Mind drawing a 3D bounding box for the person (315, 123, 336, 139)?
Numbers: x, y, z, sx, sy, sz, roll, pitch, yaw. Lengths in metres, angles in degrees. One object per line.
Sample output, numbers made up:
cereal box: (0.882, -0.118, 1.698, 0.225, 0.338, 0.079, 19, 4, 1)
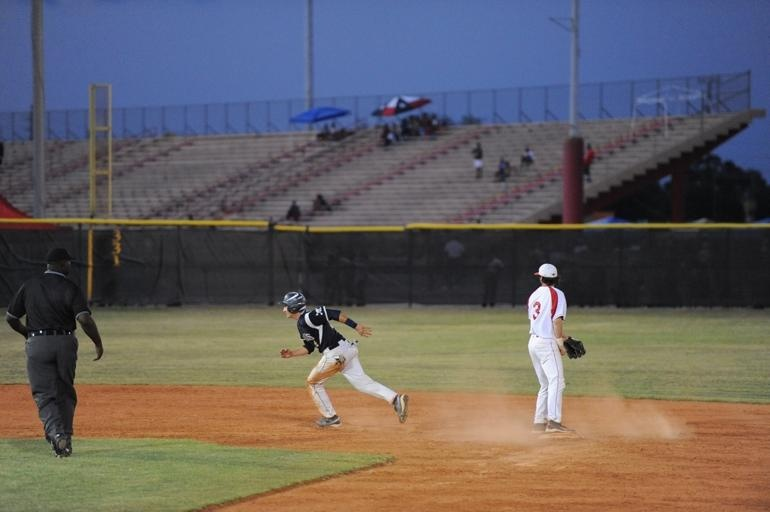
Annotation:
person: (-2.384, -5.260, 80.790, 0.592, 0.776, 0.295, -7, -26, 28)

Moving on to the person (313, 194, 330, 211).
person: (-2.374, -2.170, 74.887, 0.654, 0.641, 0.835, 0, 2, -2)

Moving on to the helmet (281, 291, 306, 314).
helmet: (-2.423, 1.190, 52.703, 0.523, 0.516, 0.439, -1, 2, -18)

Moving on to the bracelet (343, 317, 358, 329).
bracelet: (-0.909, 1.745, 52.551, 0.213, 0.240, 0.333, 8, 7, -26)

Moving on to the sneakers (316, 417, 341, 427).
sneakers: (-1.503, 4.465, 53.225, 0.597, 0.254, 0.253, 3, 8, -6)

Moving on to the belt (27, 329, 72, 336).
belt: (-8.688, 1.949, 51.327, 1.076, 0.199, 0.179, 0, 2, 1)

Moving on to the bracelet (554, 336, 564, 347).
bracelet: (4.616, 2.260, 52.305, 0.251, 0.349, 0.232, -4, 1, 4)
